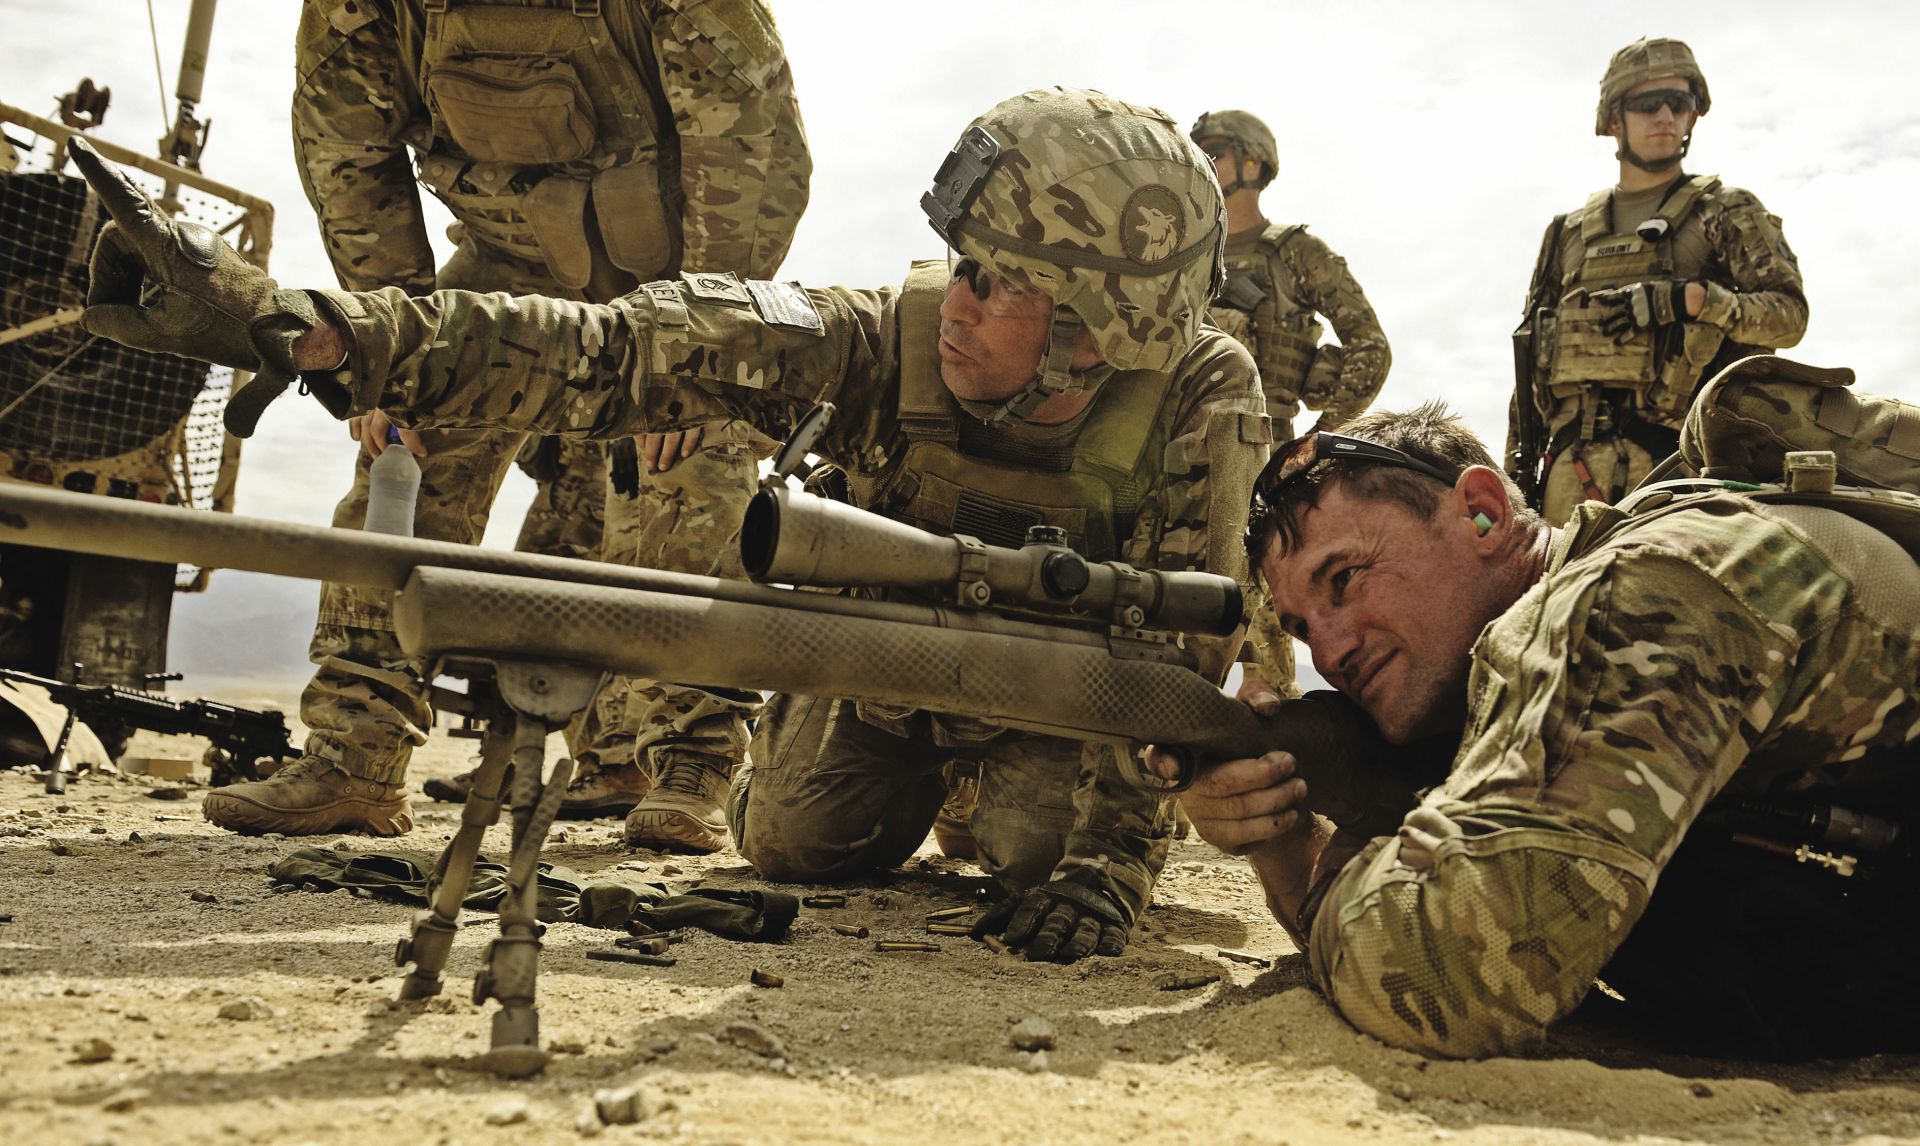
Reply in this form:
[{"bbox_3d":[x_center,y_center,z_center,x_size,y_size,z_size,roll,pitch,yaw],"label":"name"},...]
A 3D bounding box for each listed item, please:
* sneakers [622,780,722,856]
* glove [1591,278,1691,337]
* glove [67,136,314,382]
[{"bbox_3d":[-1.241,1.061,7.996,0.211,0.259,0.558,18,-12,16],"label":"sneakers"},{"bbox_3d":[3.712,-1.443,9.950,0.537,0.301,0.238,7,11,23],"label":"glove"},{"bbox_3d":[-2.470,-0.992,5.800,0.631,0.679,0.371,-3,12,-26],"label":"glove"}]
